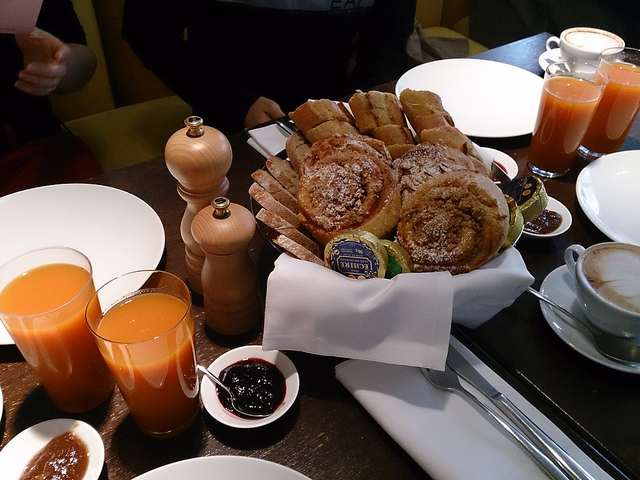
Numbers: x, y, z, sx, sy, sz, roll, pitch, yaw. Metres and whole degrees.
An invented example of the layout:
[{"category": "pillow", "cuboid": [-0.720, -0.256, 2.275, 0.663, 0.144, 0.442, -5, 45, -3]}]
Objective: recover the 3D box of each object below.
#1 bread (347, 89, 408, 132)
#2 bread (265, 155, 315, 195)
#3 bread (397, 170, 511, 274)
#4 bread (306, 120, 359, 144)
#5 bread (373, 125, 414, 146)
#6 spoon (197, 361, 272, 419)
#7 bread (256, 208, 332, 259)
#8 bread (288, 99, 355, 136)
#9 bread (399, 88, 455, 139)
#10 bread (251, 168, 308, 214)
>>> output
[{"category": "bread", "cuboid": [0.128, -0.296, 1.121, 0.109, 0.040, 0.120, -7, 62, -15]}, {"category": "bread", "cuboid": [-0.059, -0.128, 1.029, 0.022, 0.080, 0.082, -37, 57, 14]}, {"category": "bread", "cuboid": [0.226, -0.026, 0.860, 0.174, 0.123, 0.122, 6, 47, 5]}, {"category": "bread", "cuboid": [0.022, -0.240, 1.067, 0.070, 0.030, 0.077, -11, 22, 3]}, {"category": "bread", "cuboid": [0.161, -0.228, 1.065, 0.070, 0.031, 0.057, 14, 26, 23]}, {"category": "spoon", "cuboid": [-0.158, 0.261, 0.843, 0.170, 0.065, 0.031, 26, 51, 20]}, {"category": "bread", "cuboid": [-0.053, -0.021, 0.910, 0.022, 0.100, 0.094, -53, 20, -8]}, {"category": "bread", "cuboid": [0.011, -0.287, 1.104, 0.119, 0.038, 0.094, -17, 56, -35]}, {"category": "bread", "cuboid": [0.245, -0.298, 1.120, 0.084, 0.042, 0.139, -13, 53, -14]}, {"category": "bread", "cuboid": [-0.079, -0.102, 0.980, 0.021, 0.086, 0.089, -40, 66, 13]}]
